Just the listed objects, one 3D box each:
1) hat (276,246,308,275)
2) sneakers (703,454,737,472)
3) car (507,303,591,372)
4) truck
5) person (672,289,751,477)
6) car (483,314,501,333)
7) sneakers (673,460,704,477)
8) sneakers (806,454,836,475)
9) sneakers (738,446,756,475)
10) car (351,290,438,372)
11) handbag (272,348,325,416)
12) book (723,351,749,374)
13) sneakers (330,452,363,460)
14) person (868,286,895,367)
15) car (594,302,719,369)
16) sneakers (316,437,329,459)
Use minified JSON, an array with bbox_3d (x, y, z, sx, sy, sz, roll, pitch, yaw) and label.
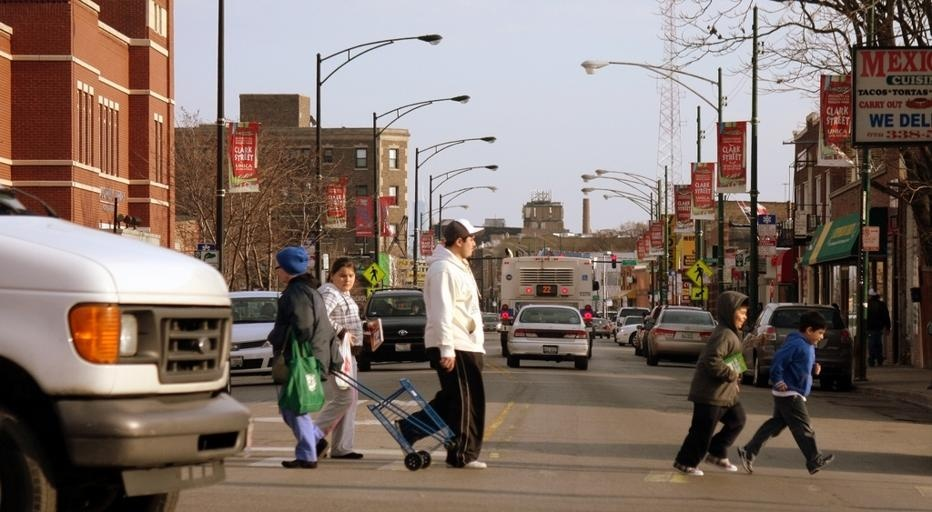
[{"bbox_3d":[-3.148,0.066,21.732,0.607,0.460,0.416,3,34,30],"label":"hat"},{"bbox_3d":[4.600,3.748,21.974,0.672,0.257,0.238,10,8,6],"label":"sneakers"},{"bbox_3d":[2.512,2.544,37.013,2.417,1.915,1.520,0,0,1],"label":"car"},{"bbox_3d":[3.580,1.172,49.628,3.805,3.409,6.155,0,12,9],"label":"truck"},{"bbox_3d":[4.435,2.285,21.697,1.087,3.287,0.884,0,0,25],"label":"person"},{"bbox_3d":[1.697,4.471,80.755,1.148,0.830,2.401,-1,-5,0],"label":"car"},{"bbox_3d":[3.897,3.805,21.629,0.613,0.236,0.218,2,0,11],"label":"sneakers"},{"bbox_3d":[6.348,3.789,21.879,0.506,0.223,0.178,-35,16,-17],"label":"sneakers"},{"bbox_3d":[5.033,3.749,21.908,0.283,0.568,0.198,-17,12,1],"label":"sneakers"},{"bbox_3d":[-2.076,2.038,36.951,2.288,2.149,4.834,-1,6,-5],"label":"car"},{"bbox_3d":[-2.878,2.165,21.247,0.745,1.285,0.302,0,0,-6],"label":"handbag"},{"bbox_3d":[4.780,1.903,21.487,0.496,0.374,0.185,0,-1,-42],"label":"book"},{"bbox_3d":[-2.172,3.651,22.306,0.575,0.223,0.180,-1,0,2],"label":"sneakers"},{"bbox_3d":[13.899,2.522,41.069,0.708,2.435,1.477,0,0,18],"label":"person"},{"bbox_3d":[7.067,2.682,41.647,2.219,1.392,4.704,1,1,2],"label":"car"},{"bbox_3d":[-2.592,3.526,22.081,0.172,0.435,0.196,-5,26,-30],"label":"sneakers"}]
